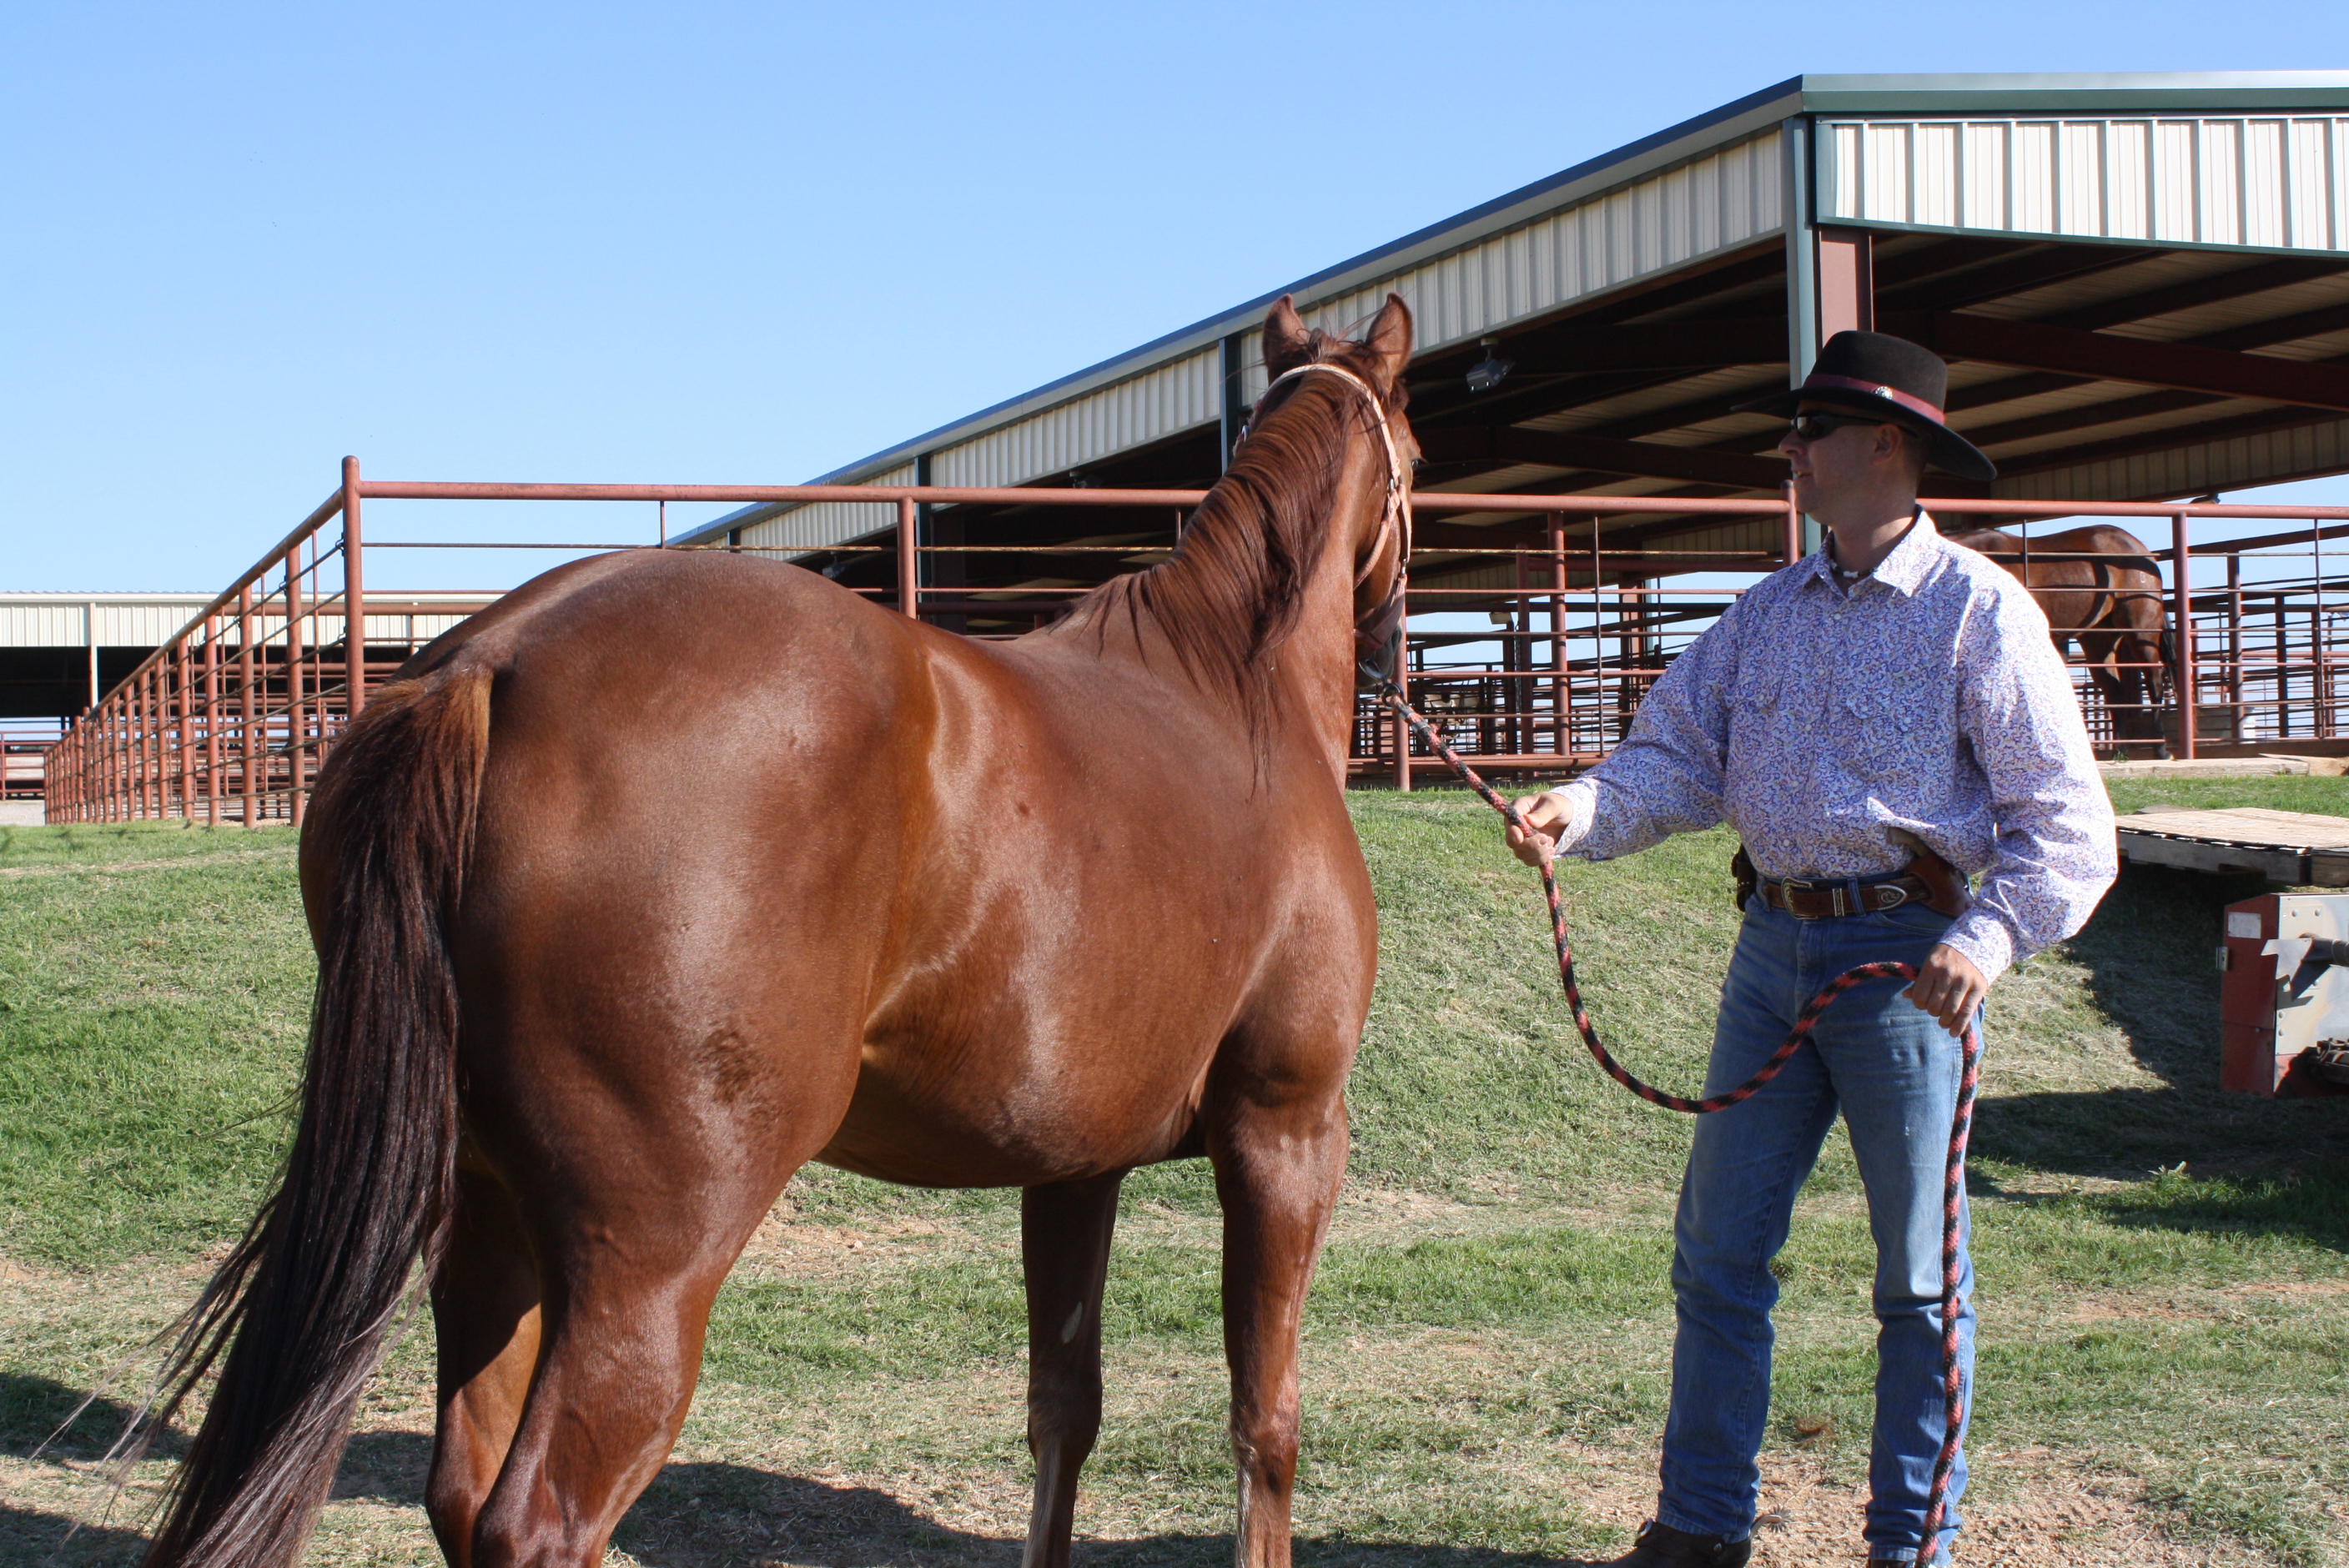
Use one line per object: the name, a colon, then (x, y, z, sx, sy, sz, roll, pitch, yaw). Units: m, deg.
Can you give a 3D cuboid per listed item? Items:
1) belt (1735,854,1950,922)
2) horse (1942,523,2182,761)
belt: (1.832, 0.296, 6.568, 0.527, 0.182, 0.148, -3, 0, 30)
horse: (6.441, -1.137, 18.095, 2.946, 2.023, 0.685, 4, -11, -34)
